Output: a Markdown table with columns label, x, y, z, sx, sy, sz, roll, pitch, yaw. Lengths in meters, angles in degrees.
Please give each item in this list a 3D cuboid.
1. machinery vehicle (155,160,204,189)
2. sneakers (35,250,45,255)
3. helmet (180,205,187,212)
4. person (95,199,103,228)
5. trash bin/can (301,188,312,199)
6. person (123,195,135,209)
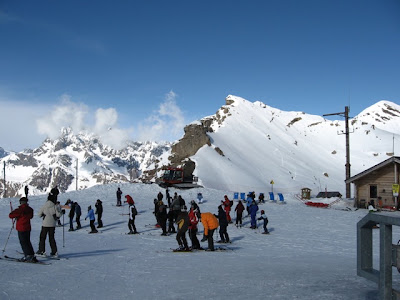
| label | x | y | z | sx | sy | sz | roll | pitch | yaw |
| --- | --- | --- | --- | --- | --- | --- | --- | --- | --- |
| machinery vehicle | -2.321 | 3.307 | 69.446 | 5.678 | 2.673 | 4.056 | 2 | 18 | -22 |
| sneakers | -9.333 | 6.008 | 30.607 | 0.573 | 0.243 | 0.227 | 4 | -12 | 26 |
| helmet | -1.012 | 3.653 | 32.659 | 0.314 | 0.394 | 0.632 | -2 | -6 | 2 |
| person | -7.654 | 4.845 | 39.892 | 0.500 | 2.138 | 1.584 | -1 | -6 | -11 |
| trash bin/can | 12.232 | 5.217 | 62.099 | 1.535 | 1.809 | 1.491 | -1 | -1 | 22 |
| person | -6.094 | 4.451 | 44.793 | 0.877 | 0.998 | 1.340 | -17 | -13 | -23 |
